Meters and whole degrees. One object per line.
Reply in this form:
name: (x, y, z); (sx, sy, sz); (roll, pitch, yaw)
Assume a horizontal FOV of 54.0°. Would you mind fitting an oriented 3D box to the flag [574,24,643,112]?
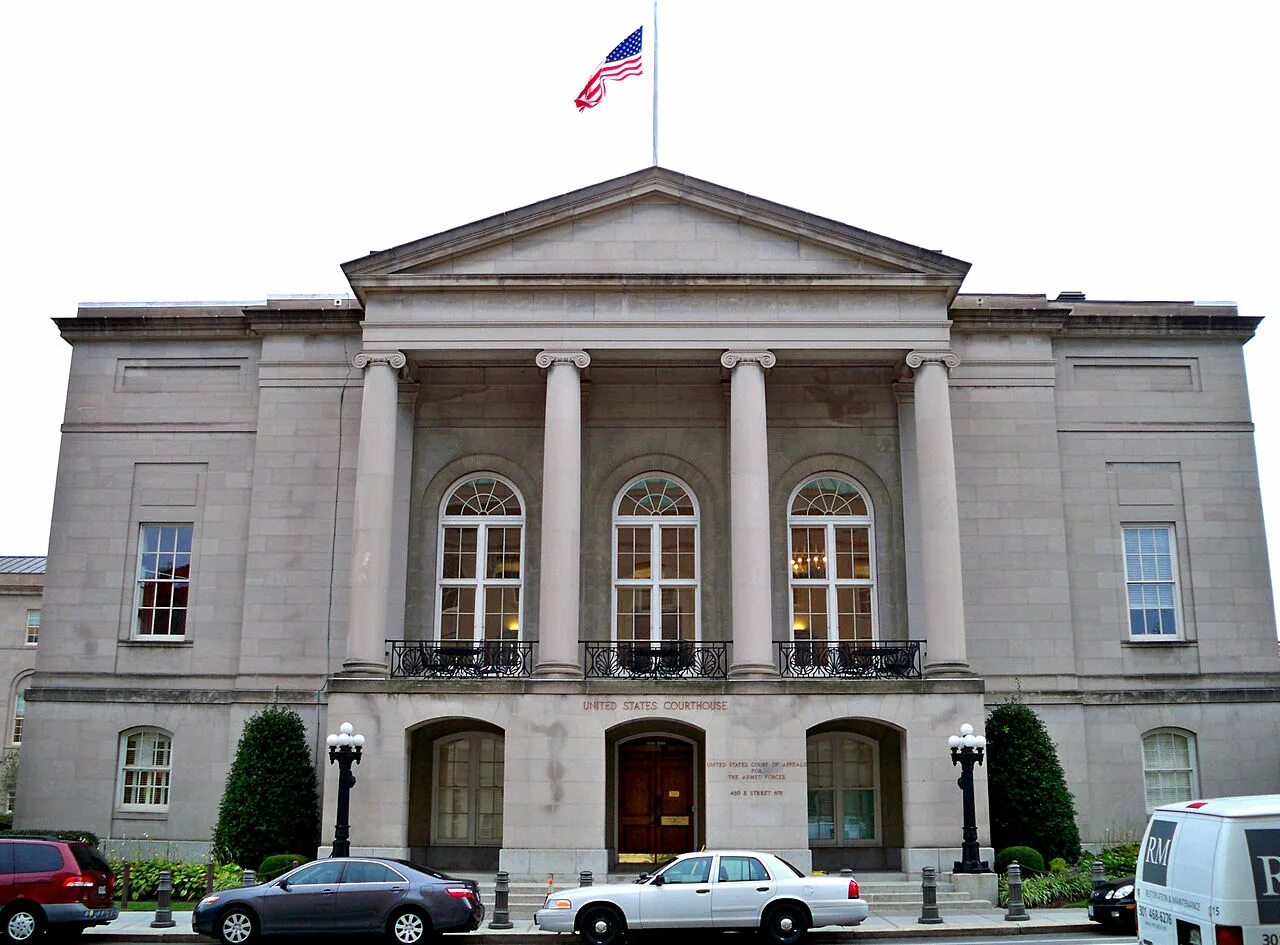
flag: (-0.561, -11.861, 36.770); (1.596, 3.680, 0.415); (3, -36, 15)
